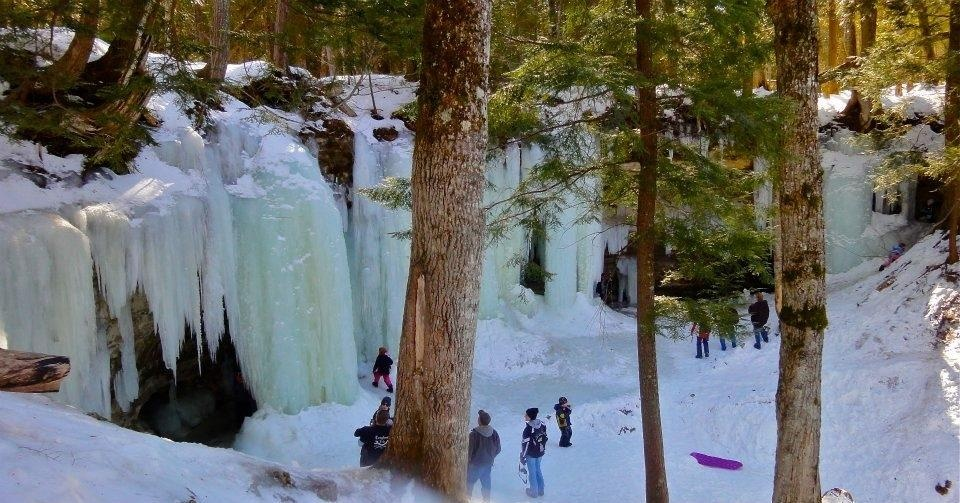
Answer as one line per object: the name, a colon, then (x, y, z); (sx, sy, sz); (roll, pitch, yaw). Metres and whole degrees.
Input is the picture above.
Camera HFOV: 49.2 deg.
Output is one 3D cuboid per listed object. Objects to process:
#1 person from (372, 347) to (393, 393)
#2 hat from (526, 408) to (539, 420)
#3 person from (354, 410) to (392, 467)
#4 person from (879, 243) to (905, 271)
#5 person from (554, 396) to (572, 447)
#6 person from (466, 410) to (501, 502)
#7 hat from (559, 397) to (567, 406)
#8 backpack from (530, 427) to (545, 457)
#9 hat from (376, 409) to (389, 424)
person: (-2.867, 3.410, 30.486); (0.633, 1.317, 1.055); (1, 0, -6)
hat: (1.306, 4.222, 27.297); (0.301, 0.310, 0.378); (-7, 4, -36)
person: (-2.691, 4.560, 25.919); (0.793, 1.348, 0.604); (1, 0, -4)
person: (13.393, 0.217, 34.043); (0.742, 0.777, 1.712); (1, 0, 22)
person: (2.283, 4.676, 28.968); (0.380, 1.401, 0.799); (1, 0, 20)
person: (0.059, 5.176, 26.776); (0.769, 2.202, 1.248); (1, 0, 1)
hat: (2.209, 4.083, 28.775); (0.225, 0.254, 0.276); (4, 11, 15)
backpack: (1.483, 4.897, 27.097); (0.392, 0.732, 0.151); (1, 1, -35)
hat: (-2.461, 4.084, 25.959); (0.263, 0.335, 0.236); (10, 24, -3)
